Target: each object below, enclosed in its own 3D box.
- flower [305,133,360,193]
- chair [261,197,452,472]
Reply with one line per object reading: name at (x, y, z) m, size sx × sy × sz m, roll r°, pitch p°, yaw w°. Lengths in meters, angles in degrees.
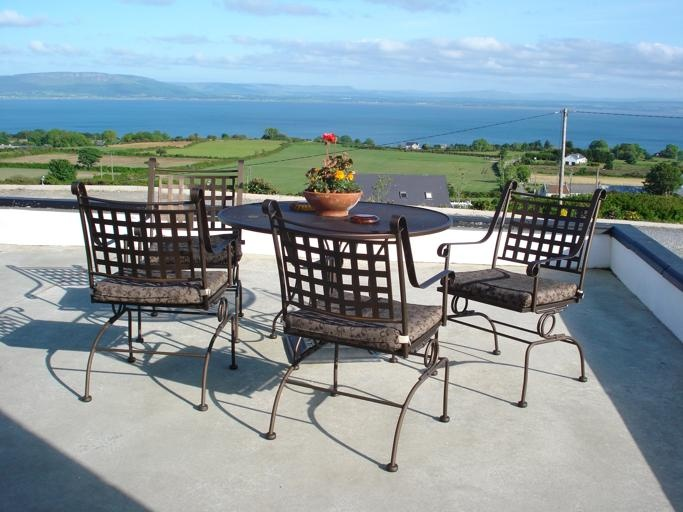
flower at (-0.060, -0.502, 3.228) m, size 0.316 × 0.229 × 0.272 m, roll -1°, pitch 20°, yaw -3°
chair at (0.101, 0.147, 2.890) m, size 0.915 × 1.057 × 1.927 m, roll 0°, pitch 19°, yaw -2°
